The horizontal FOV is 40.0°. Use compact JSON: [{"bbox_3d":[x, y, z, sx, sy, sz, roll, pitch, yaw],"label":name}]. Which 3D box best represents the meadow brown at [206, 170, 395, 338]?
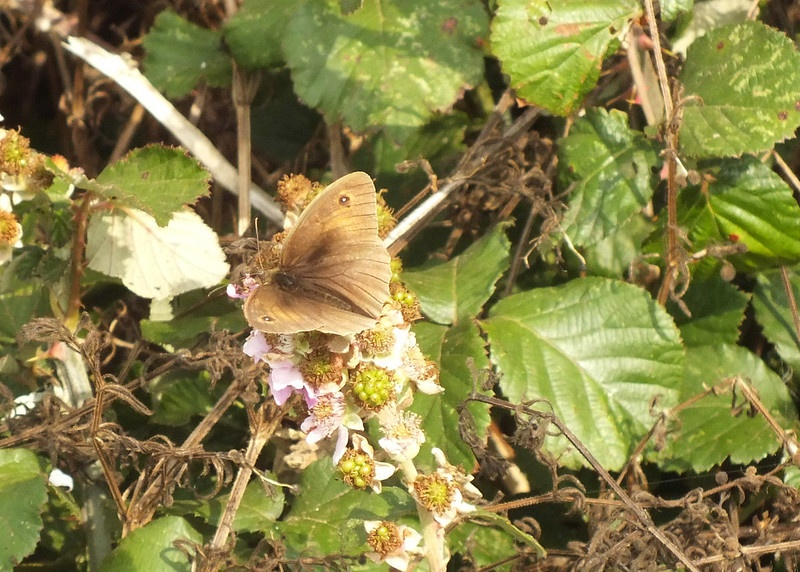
[{"bbox_3d":[-0.224,-0.090,2.914,0.386,0.325,0.351,-2,33,-7],"label":"meadow brown"}]
